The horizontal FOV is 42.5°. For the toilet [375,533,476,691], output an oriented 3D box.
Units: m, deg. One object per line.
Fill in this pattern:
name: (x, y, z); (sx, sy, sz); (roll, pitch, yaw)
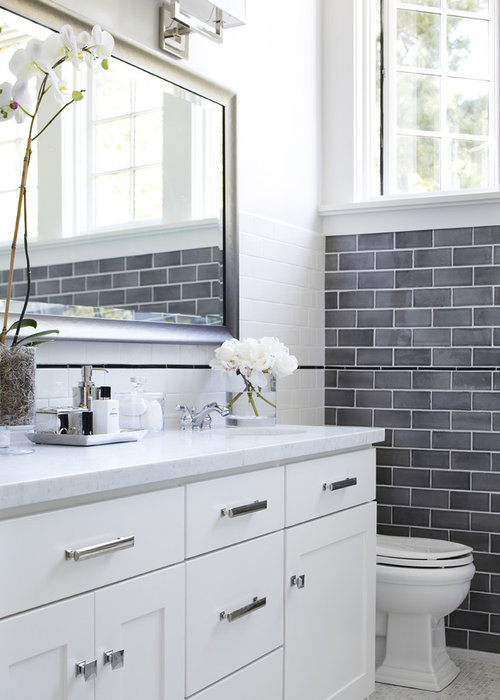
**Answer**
toilet: (0.665, 0.998, 2.484); (0.360, 0.520, 0.359); (-1, 4, 15)

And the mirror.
mirror: (-0.367, -0.489, 1.760); (0.042, 0.797, 1.032); (-2, -2, 29)

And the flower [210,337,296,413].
flower: (0.030, 0.088, 2.130); (0.233, 0.251, 0.243); (1, 0, 28)

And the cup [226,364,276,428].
cup: (-0.003, 0.159, 2.059); (0.150, 0.182, 0.155); (-1, -2, 0)

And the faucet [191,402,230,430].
faucet: (-0.124, 0.201, 1.992); (0.106, 0.088, 0.206); (-2, 4, -2)
